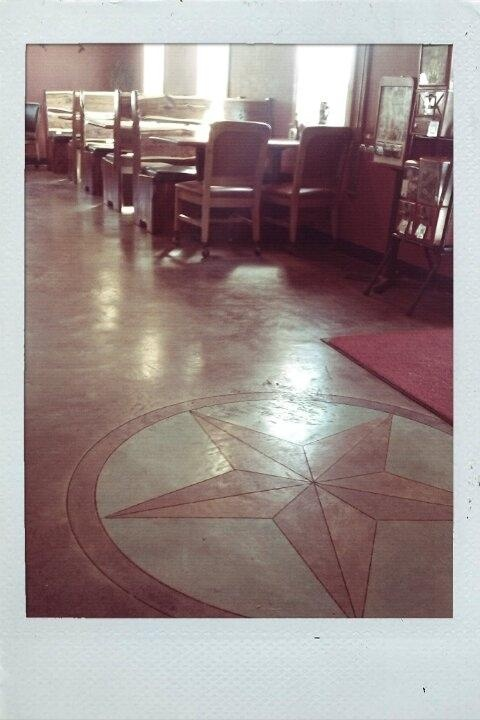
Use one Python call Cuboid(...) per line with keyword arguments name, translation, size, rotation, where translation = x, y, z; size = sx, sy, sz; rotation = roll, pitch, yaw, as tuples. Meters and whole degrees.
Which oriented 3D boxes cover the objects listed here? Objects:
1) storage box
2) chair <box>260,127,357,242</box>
Cuboid(name="storage box", translation=(0.704, -0.590, 2.262), size=(0.178, 0.318, 0.325), rotation=(-3, 19, -20))
Cuboid(name="chair", translation=(0.177, -0.323, 1.169), size=(0.115, 0.199, 0.144), rotation=(17, 3, 41))
